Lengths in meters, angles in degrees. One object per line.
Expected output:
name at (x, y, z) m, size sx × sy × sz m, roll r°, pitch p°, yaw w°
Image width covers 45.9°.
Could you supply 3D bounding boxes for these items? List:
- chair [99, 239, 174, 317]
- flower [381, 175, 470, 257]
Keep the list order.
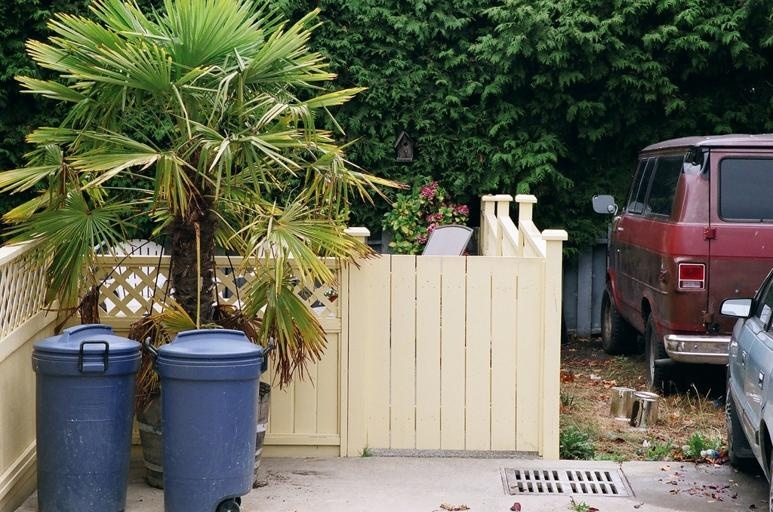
chair at (-2.625, 0.263, 9.724) m, size 0.608 × 1.013 × 0.674 m, roll 0°, pitch 13°, yaw -10°
flower at (0.683, -0.646, 14.404) m, size 1.067 × 1.414 × 1.095 m, roll -1°, pitch -17°, yaw 29°
